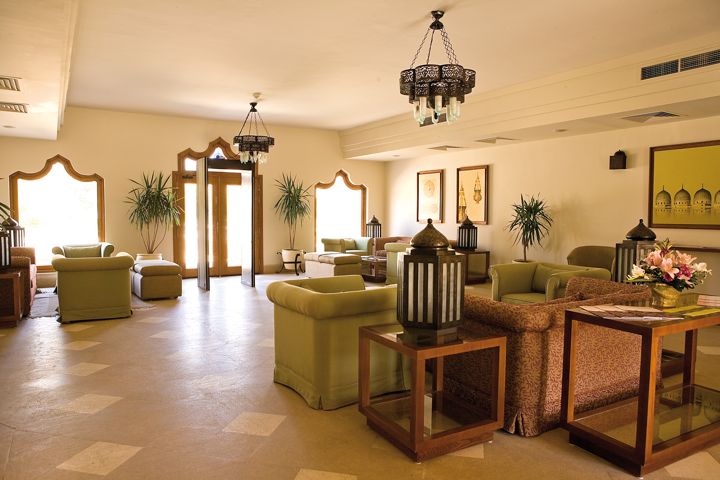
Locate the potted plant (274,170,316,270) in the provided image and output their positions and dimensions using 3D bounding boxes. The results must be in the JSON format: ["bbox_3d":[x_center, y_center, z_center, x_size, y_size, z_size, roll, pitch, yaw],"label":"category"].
[{"bbox_3d":[-1.721,-0.442,12.173,0.960,2.539,0.785,-3,11,-15],"label":"potted plant"}]

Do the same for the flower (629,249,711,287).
[{"bbox_3d":[2.811,0.270,4.327,0.544,0.315,0.479,-1,0,-21],"label":"flower"}]

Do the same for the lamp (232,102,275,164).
[{"bbox_3d":[-2.151,-2.215,9.555,0.828,1.192,0.868,2,7,16],"label":"lamp"}]

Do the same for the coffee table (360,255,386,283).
[{"bbox_3d":[0.320,0.678,10.943,0.519,0.401,0.804,0,1,-31],"label":"coffee table"}]

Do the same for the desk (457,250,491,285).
[{"bbox_3d":[2.705,0.671,10.829,0.726,0.562,0.765,-9,5,-42],"label":"desk"}]

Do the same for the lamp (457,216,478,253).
[{"bbox_3d":[2.502,-0.146,10.842,0.475,0.758,0.462,-10,11,-35],"label":"lamp"}]

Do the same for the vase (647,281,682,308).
[{"bbox_3d":[2.783,0.498,4.314,0.233,0.186,0.233,-3,6,-21],"label":"vase"}]

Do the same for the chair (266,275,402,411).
[{"bbox_3d":[-0.193,0.925,5.056,1.283,1.060,1.267,-3,5,-35],"label":"chair"}]

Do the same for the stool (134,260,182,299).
[{"bbox_3d":[-3.872,0.755,8.974,0.640,0.586,1.100,1,-1,-34],"label":"stool"}]

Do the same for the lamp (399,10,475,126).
[{"bbox_3d":[0.976,-2.202,5.957,0.883,1.349,0.894,0,1,16],"label":"lamp"}]

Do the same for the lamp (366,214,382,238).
[{"bbox_3d":[0.358,-0.331,12.597,0.364,0.536,0.384,0,10,1],"label":"lamp"}]

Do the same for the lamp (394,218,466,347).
[{"bbox_3d":[0.612,0.385,3.966,0.550,0.933,0.347,1,11,2],"label":"lamp"}]

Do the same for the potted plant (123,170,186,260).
[{"bbox_3d":[-4.699,-0.635,10.729,1.168,1.846,0.609,-4,11,-24],"label":"potted plant"}]
